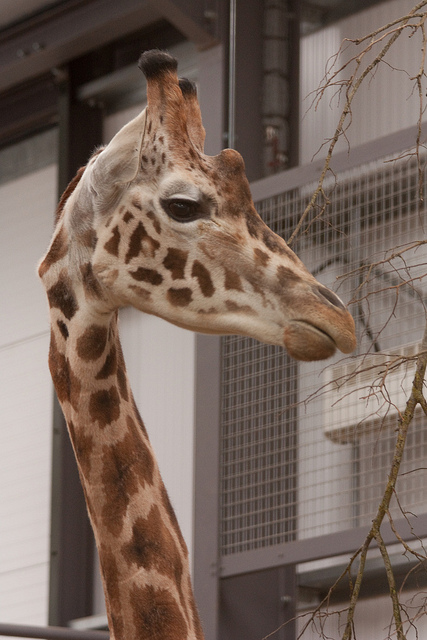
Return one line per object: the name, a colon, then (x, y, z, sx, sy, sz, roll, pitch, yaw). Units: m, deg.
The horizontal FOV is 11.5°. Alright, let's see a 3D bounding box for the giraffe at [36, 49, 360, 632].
giraffe: (-0.068, 0.047, 5.773, 0.803, 1.496, 0.506, -25, -30, 39)
